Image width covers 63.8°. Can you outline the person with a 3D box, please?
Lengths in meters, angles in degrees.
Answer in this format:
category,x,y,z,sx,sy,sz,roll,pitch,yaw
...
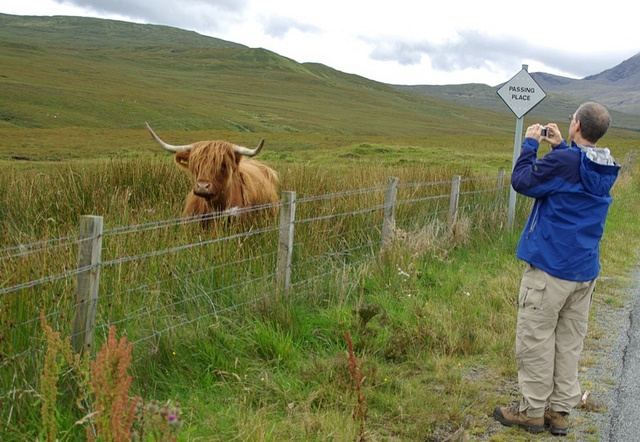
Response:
category,x,y,z,sx,sy,sz,roll,pitch,yaw
person,2.018,0.497,4.506,0.835,2.638,0.640,7,10,22

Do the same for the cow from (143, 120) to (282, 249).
category,x,y,z,sx,sy,sz,roll,pitch,yaw
cow,-1.477,-0.471,8.459,1.608,1.708,2.730,-2,-6,11

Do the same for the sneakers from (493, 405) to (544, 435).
category,x,y,z,sx,sy,sz,roll,pitch,yaw
sneakers,1.759,1.707,4.582,0.402,0.229,0.191,17,1,23

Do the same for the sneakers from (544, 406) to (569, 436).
category,x,y,z,sx,sy,sz,roll,pitch,yaw
sneakers,2.059,1.759,4.515,0.104,0.208,0.302,0,5,12
